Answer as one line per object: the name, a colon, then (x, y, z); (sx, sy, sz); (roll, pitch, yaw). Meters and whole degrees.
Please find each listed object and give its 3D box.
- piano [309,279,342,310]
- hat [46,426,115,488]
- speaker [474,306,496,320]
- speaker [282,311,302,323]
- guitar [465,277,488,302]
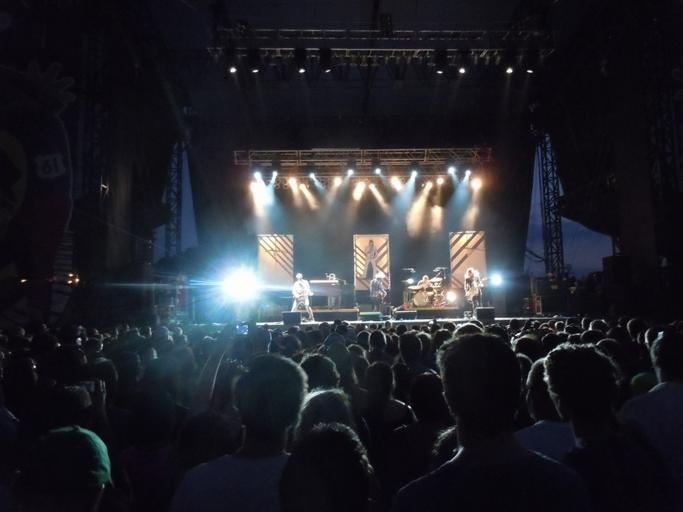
piano: (-0.457, 1.223, 18.659); (0.812, 0.844, 0.870); (0, -25, -2)
hat: (-2.213, 1.764, 5.141); (0.467, 0.588, 0.679); (-2, -28, -31)
speaker: (3.612, 1.450, 15.375); (0.334, 0.236, 0.357); (-1, 1, 8)
speaker: (-1.196, 1.520, 14.974); (0.289, 0.199, 0.306); (0, -1, 7)
guitar: (3.948, 0.998, 17.823); (0.492, 0.333, 0.779); (-6, 6, 28)
